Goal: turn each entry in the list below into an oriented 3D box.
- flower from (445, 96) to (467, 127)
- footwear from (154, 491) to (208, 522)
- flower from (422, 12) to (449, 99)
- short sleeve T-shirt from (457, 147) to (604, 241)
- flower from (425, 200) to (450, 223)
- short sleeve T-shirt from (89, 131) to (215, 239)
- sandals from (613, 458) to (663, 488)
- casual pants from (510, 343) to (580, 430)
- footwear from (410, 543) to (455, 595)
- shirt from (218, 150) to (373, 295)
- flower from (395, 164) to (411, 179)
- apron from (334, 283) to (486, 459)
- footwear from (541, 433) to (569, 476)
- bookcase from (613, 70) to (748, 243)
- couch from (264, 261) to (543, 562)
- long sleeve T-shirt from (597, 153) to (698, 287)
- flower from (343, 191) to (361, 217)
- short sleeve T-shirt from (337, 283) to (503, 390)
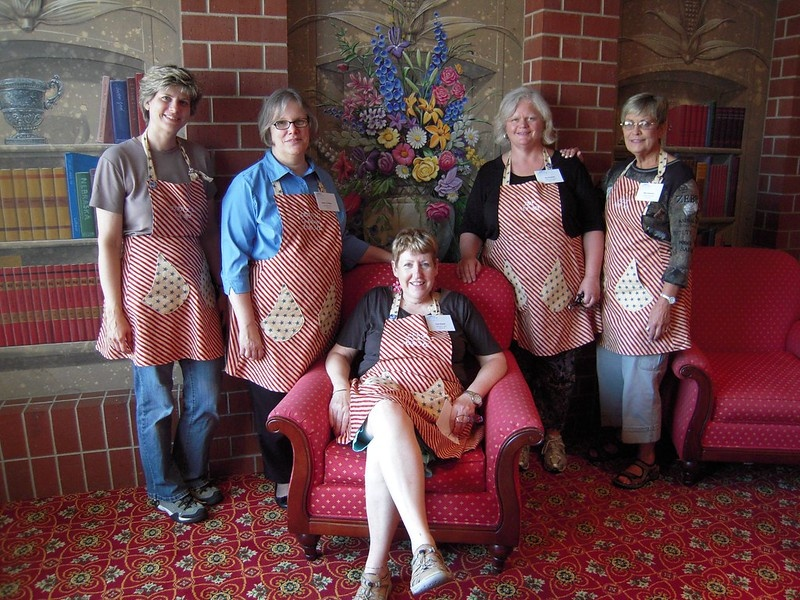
[{"bbox_3d":[0.330,-1.143,3.929,0.094,0.184,0.067,22,18,-3],"label":"flower"},{"bbox_3d":[-1.086,1.058,3.319,0.259,0.125,0.112,7,5,18],"label":"footwear"},{"bbox_3d":[0.206,-1.431,3.825,0.160,0.477,0.058,-7,14,-32],"label":"flower"},{"bbox_3d":[0.744,-0.536,3.741,0.857,0.683,0.447,-1,6,8],"label":"short sleeve T-shirt"},{"bbox_3d":[0.222,-0.528,3.905,0.116,0.077,0.121,3,11,13],"label":"flower"},{"bbox_3d":[-1.159,-0.543,3.137,0.515,0.375,0.223,-9,14,-40],"label":"short sleeve T-shirt"},{"bbox_3d":[1.301,0.941,3.614,0.251,0.110,0.112,-10,10,-28],"label":"sandals"},{"bbox_3d":[0.823,0.472,3.871,0.193,0.610,0.155,-26,25,7],"label":"casual pants"},{"bbox_3d":[0.125,1.059,2.554,0.100,0.121,0.256,-3,-18,-6],"label":"footwear"},{"bbox_3d":[-0.546,-0.392,3.380,0.821,0.745,0.387,-7,7,-39],"label":"shirt"},{"bbox_3d":[0.014,-0.758,3.870,0.087,0.078,0.036,-1,12,-8],"label":"flower"},{"bbox_3d":[0.079,0.305,3.231,0.768,0.327,1.004,-1,39,0],"label":"apron"},{"bbox_3d":[0.901,0.871,3.831,0.138,0.139,0.330,-3,16,13],"label":"footwear"},{"bbox_3d":[1.932,-0.874,4.664,0.940,1.536,0.458,-1,2,-19],"label":"bookcase"},{"bbox_3d":[0.085,0.451,3.509,1.209,1.436,1.282,0,7,4],"label":"couch"},{"bbox_3d":[1.280,-0.420,3.332,0.208,0.561,0.526,-2,15,-39],"label":"long sleeve T-shirt"},{"bbox_3d":[-0.268,-0.557,3.755,0.090,0.128,0.049,3,12,-14],"label":"flower"},{"bbox_3d":[0.114,0.176,3.411,0.764,0.538,0.453,2,16,15],"label":"short sleeve T-shirt"}]
